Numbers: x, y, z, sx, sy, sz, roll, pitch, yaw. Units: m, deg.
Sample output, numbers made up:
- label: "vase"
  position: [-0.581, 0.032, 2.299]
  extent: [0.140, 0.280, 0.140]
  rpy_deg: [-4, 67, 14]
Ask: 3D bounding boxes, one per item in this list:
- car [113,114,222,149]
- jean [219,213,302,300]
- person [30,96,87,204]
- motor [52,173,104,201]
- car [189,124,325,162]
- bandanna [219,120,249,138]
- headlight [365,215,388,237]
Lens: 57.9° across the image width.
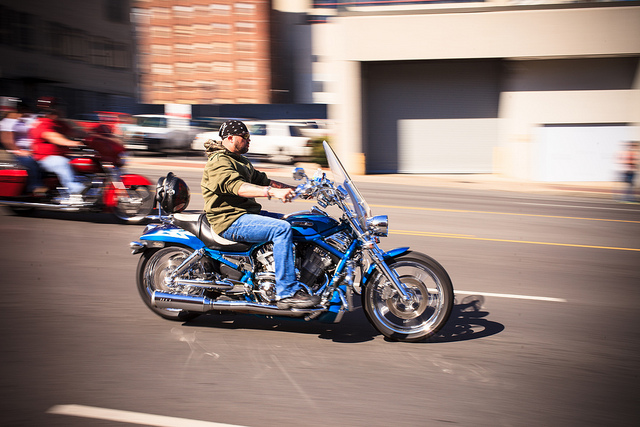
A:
- label: "car"
  position: [-8.099, -4.159, 28.552]
  extent: [6.139, 1.249, 2.936]
  rpy_deg: [-5, 8, -44]
- label: "jean"
  position: [-0.683, 0.530, 7.156]
  extent: [0.887, 1.000, 0.375]
  rpy_deg: [10, 15, 40]
- label: "person"
  position: [-5.575, -1.357, 12.312]
  extent: [1.017, 2.245, 1.347]
  rpy_deg: [-4, 13, -22]
- label: "motor"
  position: [-5.200, -0.600, 12.203]
  extent: [1.267, 0.454, 0.519]
  rpy_deg: [-1, 10, -6]
- label: "car"
  position: [-3.536, -3.094, 26.384]
  extent: [7.757, 1.364, 2.724]
  rpy_deg: [-1, 3, 9]
- label: "bandanna"
  position: [-1.132, -1.087, 7.462]
  extent: [0.416, 0.174, 0.211]
  rpy_deg: [-11, 20, -2]
- label: "headlight"
  position: [0.701, 0.167, 7.192]
  extent: [0.263, 0.265, 0.219]
  rpy_deg: [2, 11, 4]
